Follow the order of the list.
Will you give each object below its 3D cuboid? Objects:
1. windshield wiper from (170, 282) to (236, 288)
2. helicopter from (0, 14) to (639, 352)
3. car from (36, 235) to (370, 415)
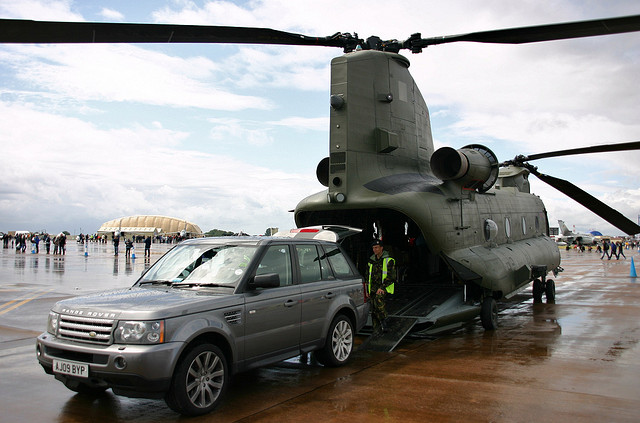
[{"bbox_3d":[-1.760,1.087,5.991,1.051,0.067,0.076,0,-3,11],"label":"windshield wiper"},{"bbox_3d":[2.667,-0.940,10.751,9.585,3.572,10.791,1,1,26],"label":"helicopter"},{"bbox_3d":[-1.307,1.638,6.621,2.753,1.756,4.676,-5,-8,36],"label":"car"}]
